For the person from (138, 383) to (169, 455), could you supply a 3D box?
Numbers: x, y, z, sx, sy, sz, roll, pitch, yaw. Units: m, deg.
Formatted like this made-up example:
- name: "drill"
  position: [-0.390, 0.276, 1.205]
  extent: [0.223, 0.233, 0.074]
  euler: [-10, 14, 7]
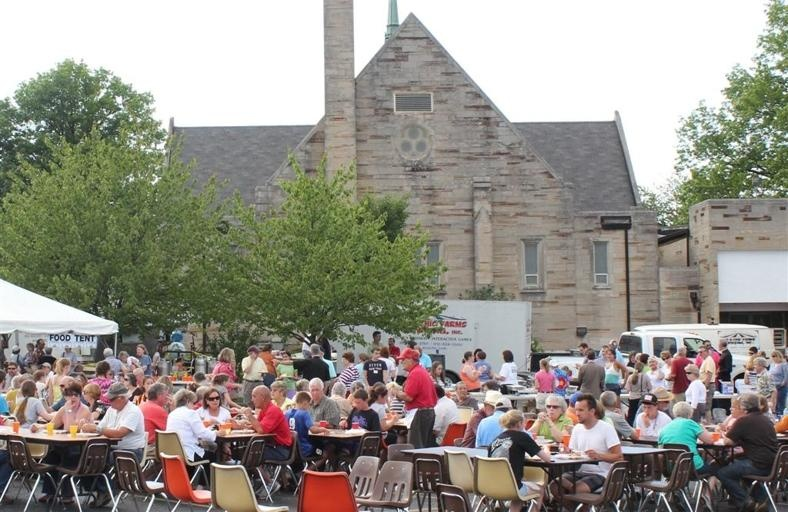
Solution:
- name: "person"
  position: [-7.075, 4.782, 43.214]
  extent: [0.915, 1.900, 0.886]
  euler: [1, 3, 3]

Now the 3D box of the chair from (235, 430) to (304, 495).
- name: "chair"
  position: [-3.623, 6.526, 43.033]
  extent: [3.364, 2.280, 1.304]
  euler: [0, -1, -4]

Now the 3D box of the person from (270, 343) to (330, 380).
- name: "person"
  position: [-3.141, 3.713, 49.987]
  extent: [1.648, 1.275, 1.130]
  euler: [-1, -12, 5]

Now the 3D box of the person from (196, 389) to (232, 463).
- name: "person"
  position: [-5.401, 5.267, 43.828]
  extent: [1.036, 2.302, 1.249]
  euler: [-4, 1, -19]

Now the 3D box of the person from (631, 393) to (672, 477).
- name: "person"
  position: [7.898, 5.710, 44.575]
  extent: [0.984, 2.759, 1.162]
  euler: [4, 0, 22]

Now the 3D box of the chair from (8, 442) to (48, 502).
- name: "chair"
  position: [-10.869, 6.524, 42.613]
  extent: [1.316, 2.024, 2.497]
  euler: [3, -13, -13]

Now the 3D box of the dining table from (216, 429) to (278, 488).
- name: "dining table"
  position: [-4.474, 6.045, 42.947]
  extent: [1.584, 2.108, 1.434]
  euler: [0, -4, 33]

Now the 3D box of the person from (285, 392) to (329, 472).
- name: "person"
  position: [-2.635, 5.479, 43.769]
  extent: [1.132, 2.440, 1.355]
  euler: [0, -6, 33]

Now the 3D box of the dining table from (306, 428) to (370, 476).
- name: "dining table"
  position: [-1.671, 5.800, 43.623]
  extent: [1.728, 1.248, 1.370]
  euler: [-5, -11, 27]

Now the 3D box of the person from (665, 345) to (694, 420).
- name: "person"
  position: [9.646, 4.099, 49.266]
  extent: [0.665, 1.992, 0.788]
  euler: [-4, -4, 5]

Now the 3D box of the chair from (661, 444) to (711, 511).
- name: "chair"
  position: [8.651, 6.485, 42.613]
  extent: [2.205, 2.304, 1.162]
  euler: [-4, -1, 6]

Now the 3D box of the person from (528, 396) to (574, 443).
- name: "person"
  position: [4.695, 4.967, 43.542]
  extent: [1.011, 1.633, 0.963]
  euler: [-4, -23, 29]

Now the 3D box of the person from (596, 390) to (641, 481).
- name: "person"
  position: [6.705, 5.084, 43.544]
  extent: [0.894, 1.924, 0.936]
  euler: [0, -1, 16]
